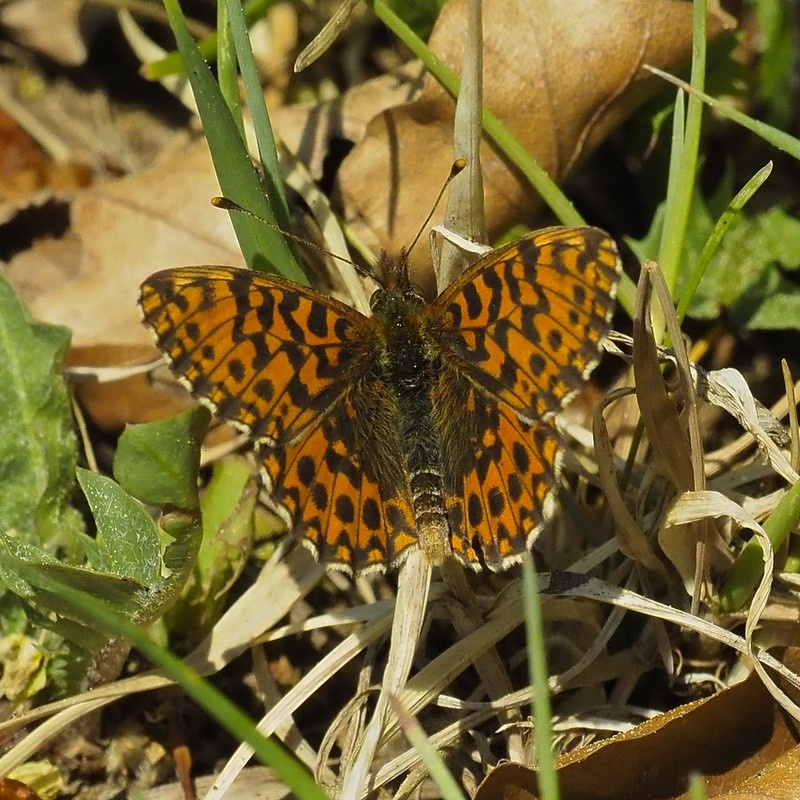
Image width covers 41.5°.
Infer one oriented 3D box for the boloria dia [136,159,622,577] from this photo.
[{"bbox_3d":[-0.011,-0.037,1.791,0.860,0.231,0.666,-5,94,13],"label":"boloria dia"}]
